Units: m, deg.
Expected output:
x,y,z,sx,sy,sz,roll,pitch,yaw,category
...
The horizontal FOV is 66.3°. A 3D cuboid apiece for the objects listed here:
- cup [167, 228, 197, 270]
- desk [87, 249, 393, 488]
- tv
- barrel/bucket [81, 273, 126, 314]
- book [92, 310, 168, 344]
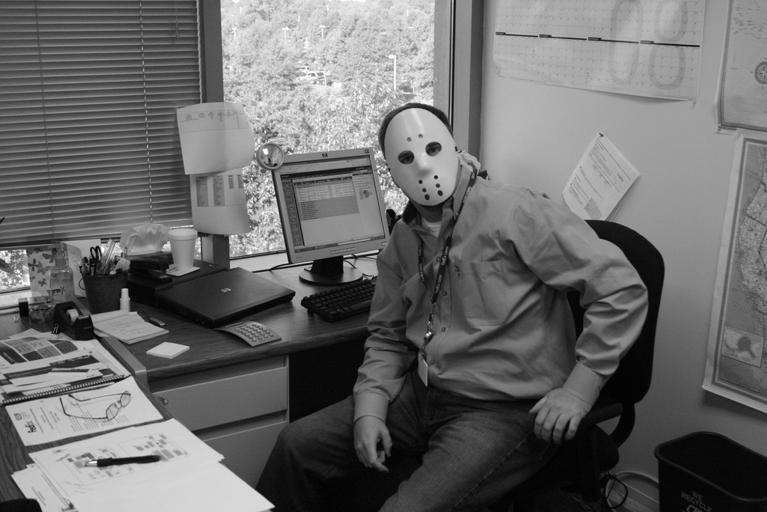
x,y,z,sx,sy,sz,roll,pitch,yaw,category
-0.823,-0.033,2.537,0.156,0.178,0.155,1,12,0,cup
-0.467,0.596,2.463,1.117,0.833,0.638,-9,21,-28,desk
-0.230,-0.175,2.601,0.523,0.584,0.299,-9,19,-25,tv
-1.092,0.142,2.268,0.163,0.137,0.162,-4,3,0,barrel/bucket
-0.932,0.255,2.122,0.155,0.040,0.143,17,22,36,book
